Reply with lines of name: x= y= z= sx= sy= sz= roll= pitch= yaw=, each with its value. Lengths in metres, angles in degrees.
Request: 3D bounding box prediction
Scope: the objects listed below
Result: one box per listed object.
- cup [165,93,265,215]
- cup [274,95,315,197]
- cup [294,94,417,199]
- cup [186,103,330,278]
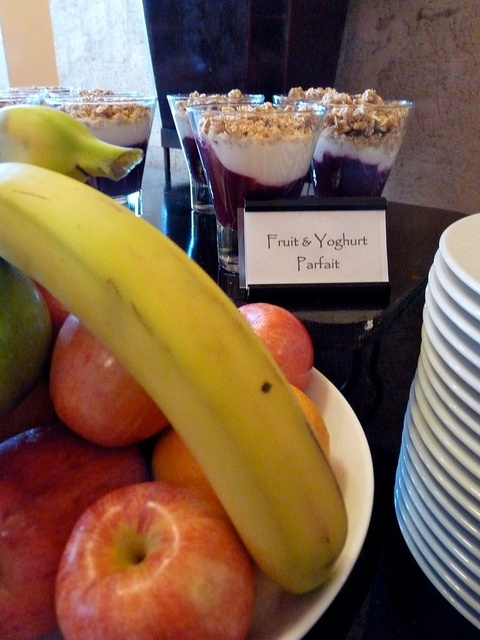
cup: x=-0.044 y=-0.322 z=0.997 sx=0.174 sy=0.292 sz=0.240 roll=-4 pitch=30 yaw=-8
cup: x=0.063 y=-0.223 z=0.679 sx=0.080 sy=0.119 sz=0.102 roll=-1 pitch=28 yaw=-1
cup: x=0.172 y=-0.254 z=0.743 sx=0.130 sy=0.159 sz=0.165 roll=3 pitch=16 yaw=5
cup: x=0.023 y=-0.165 z=0.649 sx=0.140 sy=0.223 sz=0.165 roll=0 pitch=19 yaw=1
